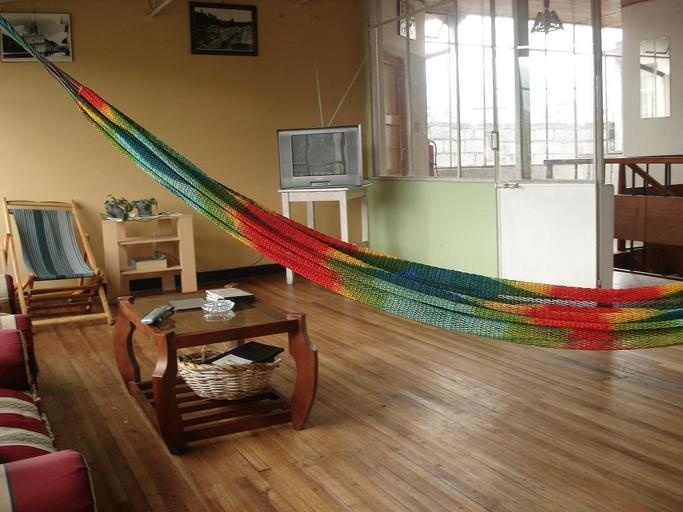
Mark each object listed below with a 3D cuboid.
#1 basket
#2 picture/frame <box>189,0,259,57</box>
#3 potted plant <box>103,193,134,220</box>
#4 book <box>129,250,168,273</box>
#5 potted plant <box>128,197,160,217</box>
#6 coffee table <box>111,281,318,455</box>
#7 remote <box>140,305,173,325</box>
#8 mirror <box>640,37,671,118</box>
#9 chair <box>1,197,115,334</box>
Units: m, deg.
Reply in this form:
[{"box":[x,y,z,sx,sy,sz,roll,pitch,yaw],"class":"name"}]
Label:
[{"box":[-0.587,0.600,2.741,0.484,0.141,0.409,-2,2,13],"class":"basket"},{"box":[-1.370,-2.568,6.050,1.010,0.495,0.067,-3,13,-21],"class":"picture/frame"},{"box":[-2.217,-0.509,5.533,0.391,0.253,0.323,3,3,9],"class":"potted plant"},{"box":[-1.987,0.059,5.495,0.332,0.160,0.275,-6,12,-21],"class":"book"},{"box":[-2.112,-0.498,5.679,0.340,0.156,0.281,-1,-1,-11],"class":"potted plant"},{"box":[-0.718,0.538,2.906,0.903,0.472,0.963,-6,12,-27],"class":"coffee table"},{"box":[-0.942,0.294,2.724,0.076,0.035,0.150,5,18,18],"class":"remote"},{"box":[3.443,-1.940,5.876,0.338,0.868,0.316,3,16,24],"class":"mirror"},{"box":[-2.709,0.009,4.980,0.746,1.080,1.514,-10,14,-27],"class":"chair"}]
